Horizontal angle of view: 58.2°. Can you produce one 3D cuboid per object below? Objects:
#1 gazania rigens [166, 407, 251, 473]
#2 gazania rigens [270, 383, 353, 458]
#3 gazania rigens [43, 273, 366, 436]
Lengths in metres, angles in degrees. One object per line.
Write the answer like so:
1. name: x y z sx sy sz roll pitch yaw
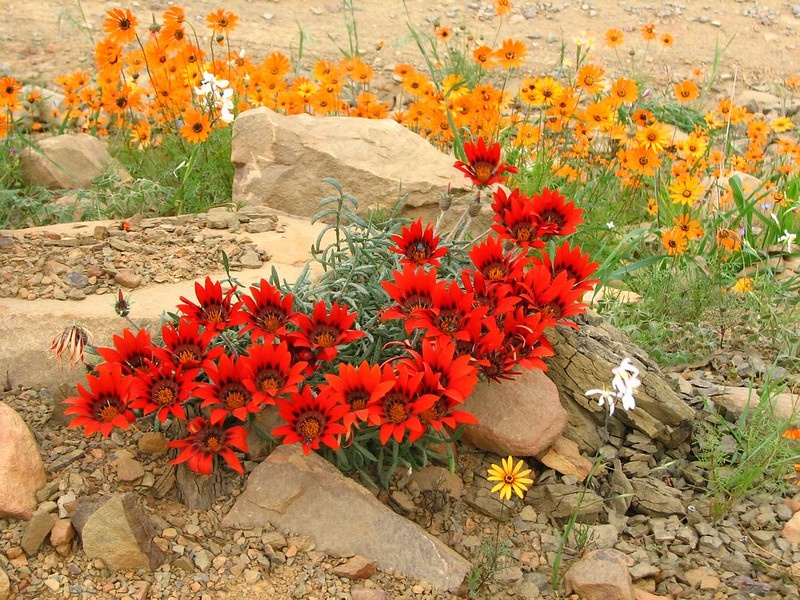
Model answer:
1. gazania rigens: -0.772 0.628 2.954 0.292 0.092 0.285 -4 12 14
2. gazania rigens: -0.353 0.466 2.864 0.286 0.243 0.223 3 34 -10
3. gazania rigens: -0.771 0.228 2.954 0.746 0.355 0.979 31 59 29
